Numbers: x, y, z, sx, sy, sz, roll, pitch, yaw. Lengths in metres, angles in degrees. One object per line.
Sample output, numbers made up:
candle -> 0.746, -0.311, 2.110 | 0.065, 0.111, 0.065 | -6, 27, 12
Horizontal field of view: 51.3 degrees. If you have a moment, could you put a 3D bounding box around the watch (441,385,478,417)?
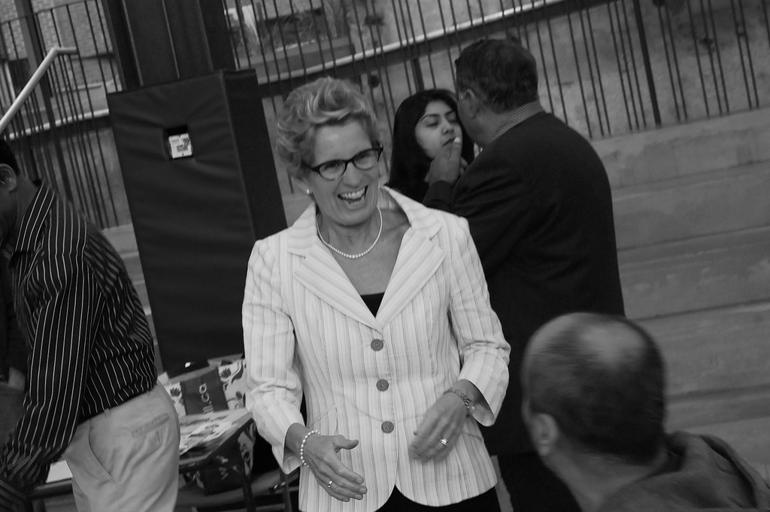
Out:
watch -> 0.216, 0.418, 2.334 | 0.069, 0.092, 0.036 | 27, 68, 41

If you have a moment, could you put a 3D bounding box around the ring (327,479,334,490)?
ring -> -0.152, 0.652, 2.269 | 0.021, 0.022, 0.006 | 0, 7, 23

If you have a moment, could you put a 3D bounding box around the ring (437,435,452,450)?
ring -> 0.172, 0.536, 2.291 | 0.037, 0.033, 0.007 | -11, 7, -19
